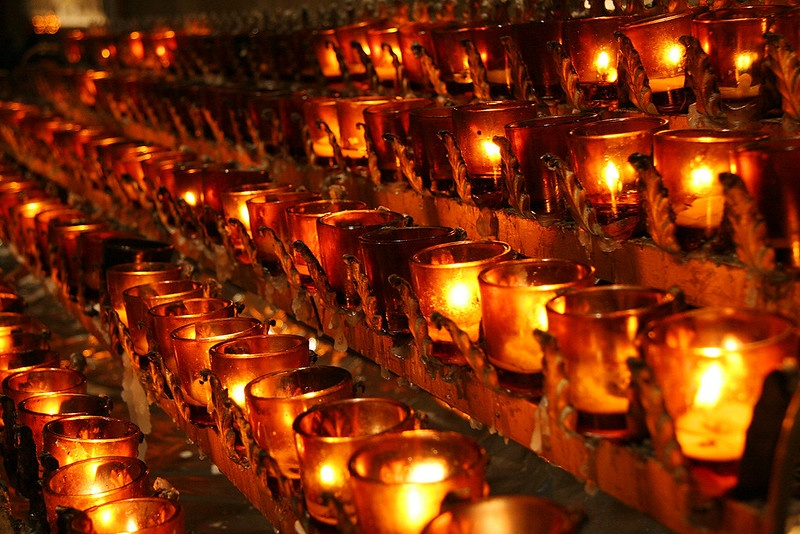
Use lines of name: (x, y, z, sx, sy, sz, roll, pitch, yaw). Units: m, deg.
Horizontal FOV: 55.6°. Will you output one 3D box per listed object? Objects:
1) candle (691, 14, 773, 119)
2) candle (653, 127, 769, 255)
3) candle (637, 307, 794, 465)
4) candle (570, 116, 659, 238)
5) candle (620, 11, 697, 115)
candle: (0.350, -0.209, 0.802, 0.087, 0.114, 0.056, 2, 21, 40)
candle: (0.293, -0.084, 0.792, 0.113, 0.111, 0.104, -11, 21, -9)
candle: (0.256, 0.090, 0.676, 0.135, 0.128, 0.124, -8, 15, 8)
candle: (0.239, -0.093, 0.817, 0.101, 0.129, 0.056, -8, 16, 12)
candle: (0.298, -0.243, 0.918, 0.100, 0.108, 0.110, -15, 13, 12)
